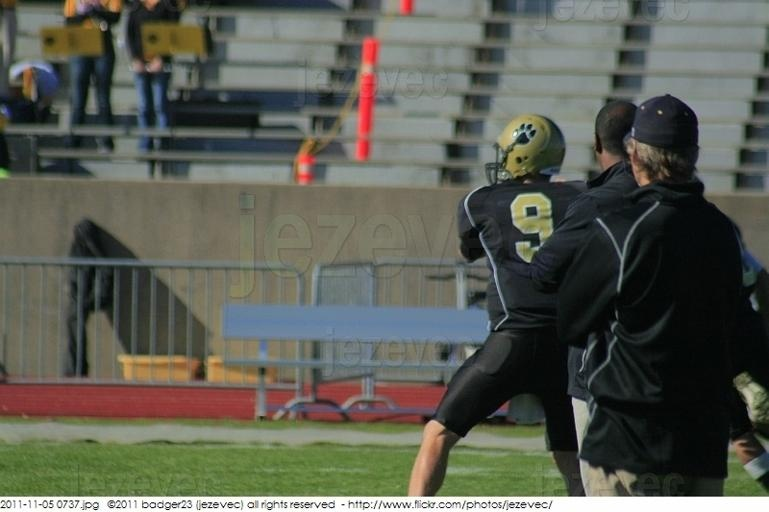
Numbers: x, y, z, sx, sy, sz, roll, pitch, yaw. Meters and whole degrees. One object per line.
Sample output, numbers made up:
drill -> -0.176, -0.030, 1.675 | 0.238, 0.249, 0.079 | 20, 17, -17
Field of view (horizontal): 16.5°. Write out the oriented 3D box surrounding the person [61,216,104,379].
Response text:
person -> -4.034, 0.562, 35.984 | 0.618, 2.088, 1.109 | 3, 2, -8
